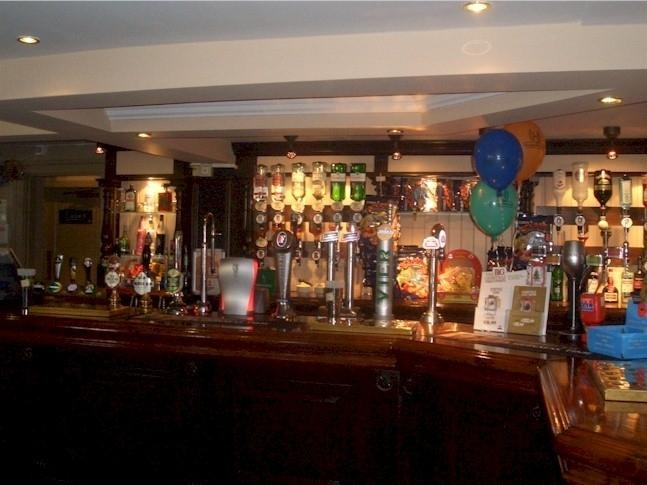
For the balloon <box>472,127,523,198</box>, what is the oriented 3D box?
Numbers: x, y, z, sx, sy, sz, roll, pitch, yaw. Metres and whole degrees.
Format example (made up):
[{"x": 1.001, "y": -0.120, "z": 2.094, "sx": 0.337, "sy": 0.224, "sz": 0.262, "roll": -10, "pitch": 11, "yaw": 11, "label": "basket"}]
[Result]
[{"x": 1.264, "y": -0.612, "z": 3.872, "sx": 0.323, "sy": 0.458, "sz": 0.297, "roll": 2, "pitch": 1, "yaw": -2, "label": "balloon"}]

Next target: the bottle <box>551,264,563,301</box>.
[{"x": 2.501, "y": 0.430, "z": 5.740, "sx": 0.123, "sy": 0.393, "sz": 0.269, "roll": 2, "pitch": 1, "yaw": 24, "label": "bottle"}]

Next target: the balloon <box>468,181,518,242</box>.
[{"x": 1.457, "y": -0.284, "z": 4.623, "sx": 0.453, "sy": 0.551, "sz": 0.424, "roll": -1, "pitch": -10, "yaw": -2, "label": "balloon"}]

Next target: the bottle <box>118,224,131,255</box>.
[{"x": -2.562, "y": -0.018, "z": 6.952, "sx": 0.150, "sy": 0.324, "sz": 0.240, "roll": 2, "pitch": 1, "yaw": -20, "label": "bottle"}]
